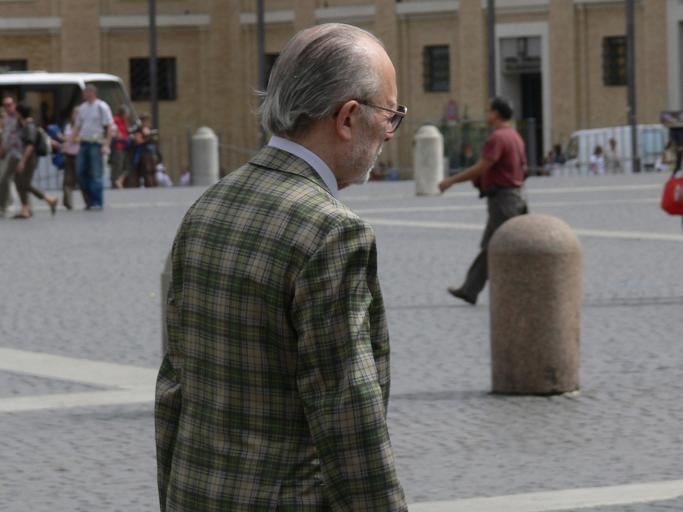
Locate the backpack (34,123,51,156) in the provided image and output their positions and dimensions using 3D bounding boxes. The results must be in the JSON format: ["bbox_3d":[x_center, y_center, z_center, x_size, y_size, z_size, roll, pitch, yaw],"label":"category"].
[{"bbox_3d":[-4.930,-1.900,37.947,0.159,0.458,0.328,0,4,-12],"label":"backpack"}]

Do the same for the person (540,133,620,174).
[{"bbox_3d":[4.787,-2.031,44.146,0.997,0.641,1.018,-3,5,-8],"label":"person"}]

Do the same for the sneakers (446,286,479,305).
[{"bbox_3d":[1.621,0.532,30.763,0.316,0.109,0.229,26,-2,4],"label":"sneakers"}]
